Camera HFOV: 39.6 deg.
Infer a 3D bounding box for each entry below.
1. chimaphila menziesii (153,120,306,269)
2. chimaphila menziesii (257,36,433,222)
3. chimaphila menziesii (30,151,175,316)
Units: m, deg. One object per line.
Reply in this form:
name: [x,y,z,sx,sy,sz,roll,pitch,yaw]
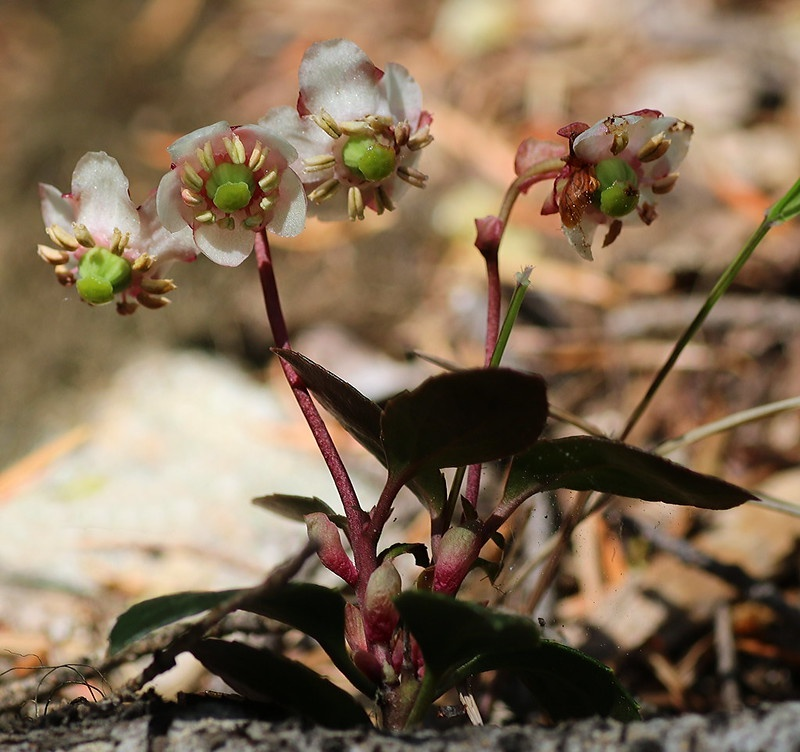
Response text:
chimaphila menziesii: [-0.188,-0.203,1.242,0.162,0.142,0.084,-3,-9,-5]
chimaphila menziesii: [-0.076,-0.278,1.361,0.227,0.209,0.104,25,-6,-13]
chimaphila menziesii: [-0.335,-0.164,1.278,0.136,0.175,0.092,3,-12,-38]
